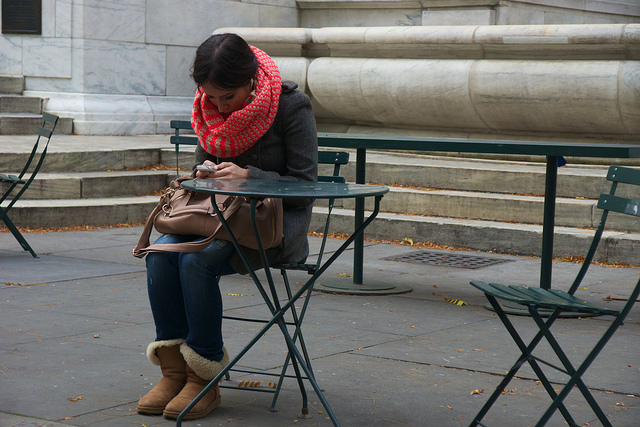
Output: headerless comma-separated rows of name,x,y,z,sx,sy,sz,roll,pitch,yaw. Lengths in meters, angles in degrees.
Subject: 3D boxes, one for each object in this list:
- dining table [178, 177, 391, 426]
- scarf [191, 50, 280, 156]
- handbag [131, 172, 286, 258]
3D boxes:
dining table,-0.194,0.430,5.046,1.613,1.495,1.652,-4,6,-45
scarf,-0.507,-0.660,4.575,0.515,0.640,0.349,3,7,-4
handbag,-0.632,-0.004,4.306,0.854,0.282,0.750,0,9,-9
